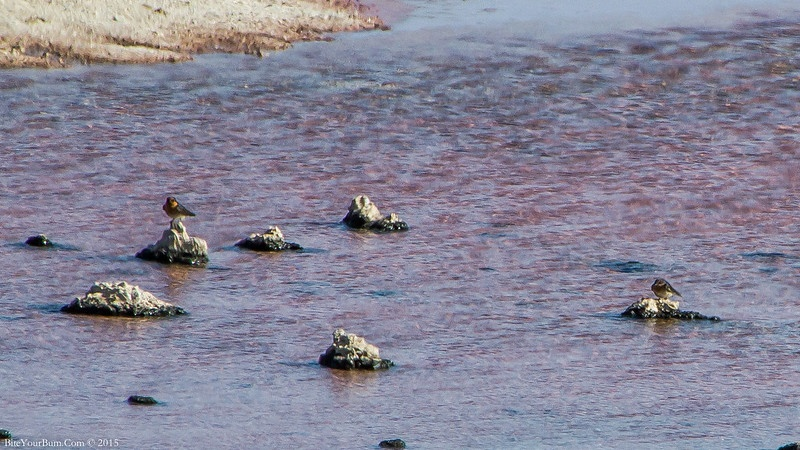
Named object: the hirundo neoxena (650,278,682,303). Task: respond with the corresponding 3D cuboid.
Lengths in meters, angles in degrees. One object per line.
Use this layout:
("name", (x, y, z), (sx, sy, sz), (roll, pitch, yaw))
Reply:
("hirundo neoxena", (5.830, 1.410, 33.584), (0.648, 0.694, 0.521), (11, 37, 9))
